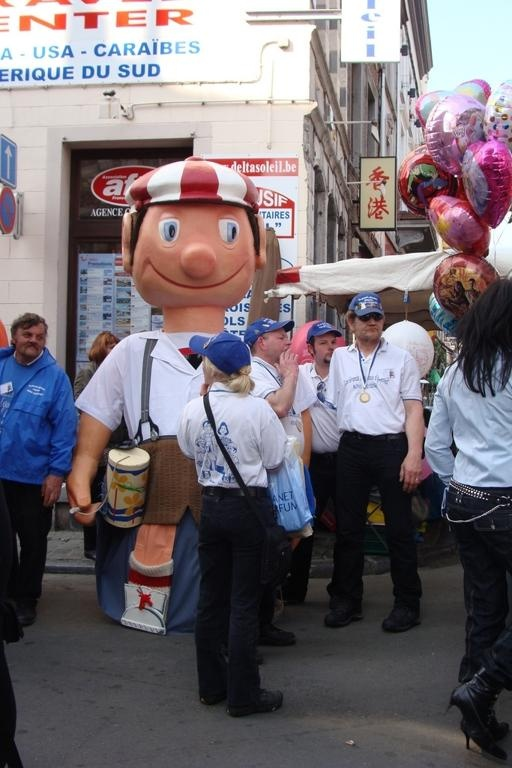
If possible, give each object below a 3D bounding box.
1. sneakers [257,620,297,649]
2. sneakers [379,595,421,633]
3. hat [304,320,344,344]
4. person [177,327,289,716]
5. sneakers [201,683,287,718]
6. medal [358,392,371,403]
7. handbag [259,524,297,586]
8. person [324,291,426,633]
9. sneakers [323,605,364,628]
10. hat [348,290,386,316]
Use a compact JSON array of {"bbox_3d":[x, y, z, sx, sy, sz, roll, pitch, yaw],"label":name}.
[{"bbox_3d":[0.049,1.315,4.603,0.319,0.135,0.106,-1,3,6],"label":"sneakers"},{"bbox_3d":[0.805,1.290,4.805,0.099,0.162,0.258,-11,-15,36],"label":"sneakers"},{"bbox_3d":[0.418,-0.354,5.609,0.158,0.118,0.206,5,-10,-24],"label":"hat"},{"bbox_3d":[-0.102,0.557,3.484,0.430,1.498,0.294,0,-2,5],"label":"person"},{"bbox_3d":[-0.029,1.259,3.501,0.351,0.141,0.122,-1,2,-27],"label":"sneakers"},{"bbox_3d":[0.610,0.078,4.937,0.061,0.064,0.019,-1,-2,31],"label":"medal"},{"bbox_3d":[0.094,0.669,3.429,0.090,0.238,0.233,0,-2,24],"label":"handbag"},{"bbox_3d":[0.669,0.408,5.011,0.560,1.900,0.443,0,-2,10],"label":"person"},{"bbox_3d":[0.492,1.310,4.972,0.147,0.096,0.302,0,-1,28],"label":"sneakers"},{"bbox_3d":[0.633,-0.466,5.074,0.129,0.102,0.189,1,-2,-4],"label":"hat"}]
